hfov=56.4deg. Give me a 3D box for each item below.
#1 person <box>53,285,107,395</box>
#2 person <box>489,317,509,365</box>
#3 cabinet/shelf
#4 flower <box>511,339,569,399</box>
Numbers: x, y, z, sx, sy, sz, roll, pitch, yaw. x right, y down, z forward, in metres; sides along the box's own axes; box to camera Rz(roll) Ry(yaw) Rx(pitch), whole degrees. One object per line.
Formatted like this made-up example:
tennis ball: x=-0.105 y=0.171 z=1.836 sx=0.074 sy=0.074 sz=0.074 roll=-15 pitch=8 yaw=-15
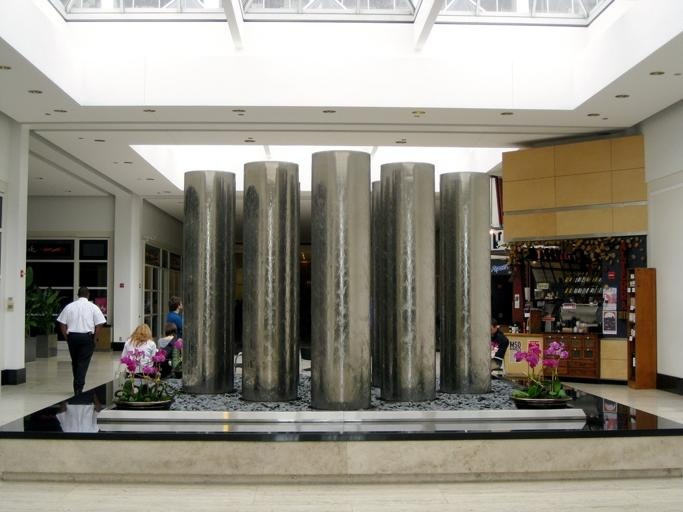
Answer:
person: x=-4.233 y=1.386 z=10.467 sx=0.667 sy=1.756 sz=0.697 roll=-5 pitch=-8 yaw=40
person: x=2.655 y=1.466 z=10.688 sx=0.258 sy=0.830 sz=0.627 roll=-1 pitch=-6 yaw=14
cabinet/shelf: x=5.567 y=1.350 z=11.853 sx=0.357 sy=2.360 sz=0.447 roll=5 pitch=-15 yaw=5
flower: x=2.483 y=1.422 z=7.812 sx=0.584 sy=0.654 sz=0.602 roll=-1 pitch=-19 yaw=23
